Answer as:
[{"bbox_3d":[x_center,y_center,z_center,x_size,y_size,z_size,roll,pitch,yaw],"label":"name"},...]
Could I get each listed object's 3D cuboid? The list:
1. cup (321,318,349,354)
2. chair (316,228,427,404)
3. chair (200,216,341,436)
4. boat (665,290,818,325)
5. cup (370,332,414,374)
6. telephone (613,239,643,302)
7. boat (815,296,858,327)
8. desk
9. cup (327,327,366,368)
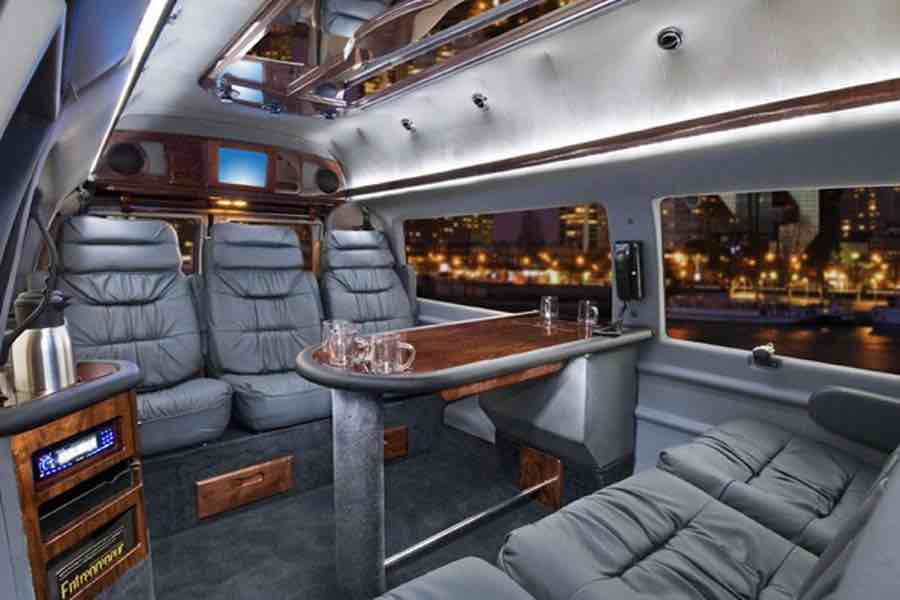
[{"bbox_3d":[-0.593,0.176,2.731,0.114,0.169,0.178,2,-2,-13],"label":"cup"},{"bbox_3d":[-0.589,0.072,4.337,0.783,1.107,0.946,-8,17,-39],"label":"chair"},{"bbox_3d":[-1.213,0.146,3.817,0.927,1.297,0.987,-1,7,-24],"label":"chair"},{"bbox_3d":[2.286,0.047,4.293,1.236,0.259,0.270,1,2,4],"label":"boat"},{"bbox_3d":[-0.272,0.254,2.605,0.229,0.196,0.145,3,10,18],"label":"cup"},{"bbox_3d":[1.164,-0.192,3.552,0.195,0.406,0.132,-2,7,17],"label":"telephone"},{"bbox_3d":[2.821,0.081,3.962,0.456,0.178,0.194,-5,6,-44],"label":"boat"},{"bbox_3d":[0.118,0.711,3.323,2.077,1.138,0.964,-2,5,-37],"label":"desk"},{"bbox_3d":[-0.490,0.228,2.671,0.223,0.193,0.143,16,18,37],"label":"cup"}]
